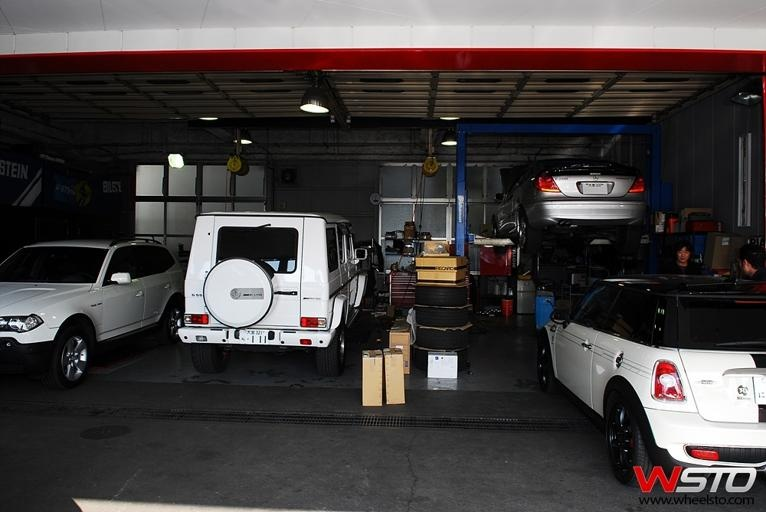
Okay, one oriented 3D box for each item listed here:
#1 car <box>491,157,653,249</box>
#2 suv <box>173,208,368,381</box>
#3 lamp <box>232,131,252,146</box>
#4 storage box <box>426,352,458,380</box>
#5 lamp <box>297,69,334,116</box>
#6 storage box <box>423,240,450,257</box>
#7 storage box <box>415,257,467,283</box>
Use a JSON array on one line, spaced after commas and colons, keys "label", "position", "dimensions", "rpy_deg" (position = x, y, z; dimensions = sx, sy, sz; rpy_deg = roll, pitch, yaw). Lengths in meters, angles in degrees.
[{"label": "car", "position": [3.344, -0.992, 10.290], "dimensions": [1.678, 1.804, 2.789], "rpy_deg": [-7, 14, -33]}, {"label": "suv", "position": [-1.702, 0.372, 7.808], "dimensions": [1.922, 1.612, 3.169], "rpy_deg": [0, 6, 4]}, {"label": "lamp", "position": [-4.144, -3.540, 15.812], "dimensions": [0.368, 0.419, 3.051], "rpy_deg": [-3, 12, -16]}, {"label": "storage box", "position": [0.949, 1.710, 8.608], "dimensions": [0.679, 0.508, 0.360], "rpy_deg": [1, 8, 6]}, {"label": "lamp", "position": [-1.040, -2.730, 9.021], "dimensions": [0.675, 0.681, 0.657], "rpy_deg": [-2, 6, -30]}, {"label": "storage box", "position": [1.013, -0.146, 9.886], "dimensions": [0.386, 0.241, 0.387], "rpy_deg": [1, 0, 1]}, {"label": "storage box", "position": [1.004, 0.186, 8.908], "dimensions": [0.642, 0.306, 0.475], "rpy_deg": [1, 4, 17]}]
